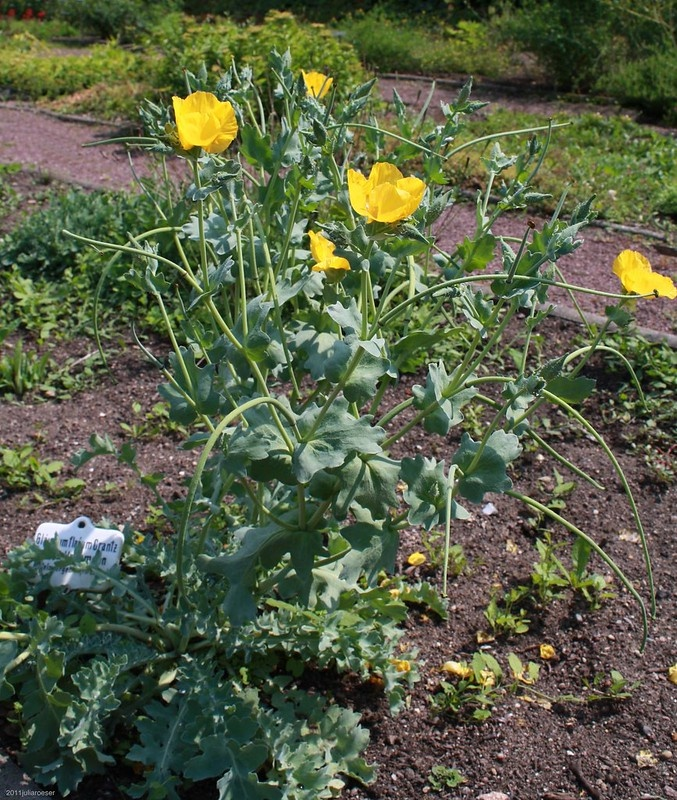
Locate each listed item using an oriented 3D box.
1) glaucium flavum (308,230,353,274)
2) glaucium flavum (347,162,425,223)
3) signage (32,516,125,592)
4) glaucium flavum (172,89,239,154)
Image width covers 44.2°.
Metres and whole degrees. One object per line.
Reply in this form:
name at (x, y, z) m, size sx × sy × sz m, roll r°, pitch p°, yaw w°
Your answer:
glaucium flavum at (-0.032, -0.367, 2.091) m, size 0.122 × 0.105 × 0.053 m, roll 21°, pitch 50°, yaw 27°
glaucium flavum at (0.106, -0.456, 1.845) m, size 0.163 × 0.125 × 0.177 m, roll 12°, pitch 24°, yaw 10°
signage at (-0.788, 0.473, 2.532) m, size 0.316 × 0.037 × 0.218 m, roll 9°, pitch 60°, yaw 12°
glaucium flavum at (-0.319, -0.644, 1.942) m, size 0.163 × 0.122 × 0.077 m, roll 23°, pitch -4°, yaw -26°
